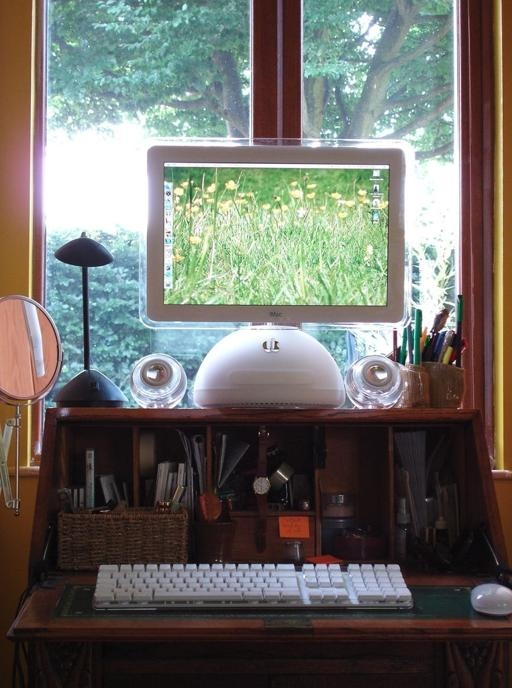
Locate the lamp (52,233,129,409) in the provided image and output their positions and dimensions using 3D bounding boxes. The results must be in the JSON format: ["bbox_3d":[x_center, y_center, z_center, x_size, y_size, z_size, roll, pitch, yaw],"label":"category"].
[{"bbox_3d":[-0.397,-0.061,1.657,0.153,0.399,0.366,-4,4,-13],"label":"lamp"}]

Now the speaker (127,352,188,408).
[{"bbox_3d":[-0.226,0.086,1.592,0.089,0.120,0.109,1,5,39],"label":"speaker"}]

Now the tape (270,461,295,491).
[{"bbox_3d":[0.053,0.276,1.476,0.019,0.046,0.047,35,41,4],"label":"tape"}]

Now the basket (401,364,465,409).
[{"bbox_3d":[0.370,0.089,1.466,0.113,0.084,0.086,0,-7,7],"label":"basket"}]
